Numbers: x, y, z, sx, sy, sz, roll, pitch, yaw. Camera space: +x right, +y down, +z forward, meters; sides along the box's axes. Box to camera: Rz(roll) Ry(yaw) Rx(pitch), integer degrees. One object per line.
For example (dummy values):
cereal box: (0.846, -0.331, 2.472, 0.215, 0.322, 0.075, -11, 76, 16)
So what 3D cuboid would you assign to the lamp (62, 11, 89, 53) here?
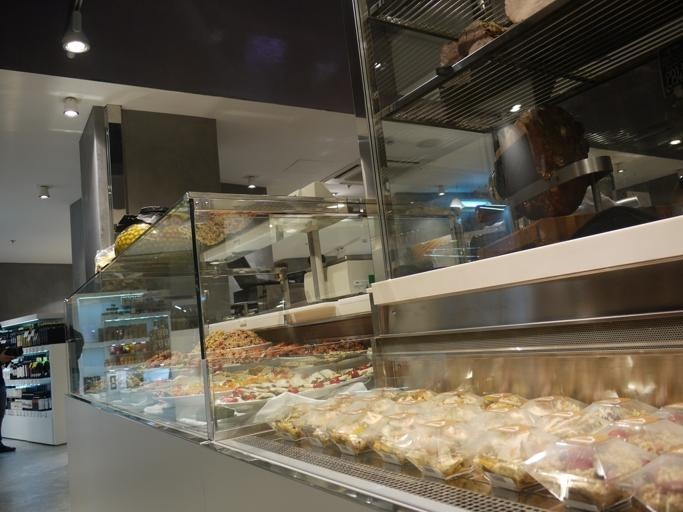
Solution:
lamp: (-1.303, -1.102, 2.376, 0.101, 0.203, 0.137, -2, -7, -32)

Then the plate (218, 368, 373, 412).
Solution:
plate: (-0.108, 0.274, 1.035, 0.202, 0.031, 0.135, -8, -9, -12)

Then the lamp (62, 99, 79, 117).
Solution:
lamp: (-1.942, -1.055, 3.484, 0.111, 0.100, 0.104, -12, -16, 10)
